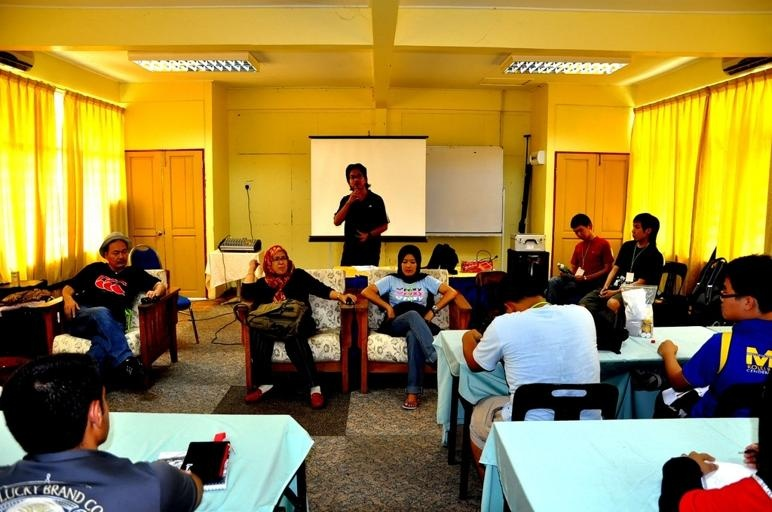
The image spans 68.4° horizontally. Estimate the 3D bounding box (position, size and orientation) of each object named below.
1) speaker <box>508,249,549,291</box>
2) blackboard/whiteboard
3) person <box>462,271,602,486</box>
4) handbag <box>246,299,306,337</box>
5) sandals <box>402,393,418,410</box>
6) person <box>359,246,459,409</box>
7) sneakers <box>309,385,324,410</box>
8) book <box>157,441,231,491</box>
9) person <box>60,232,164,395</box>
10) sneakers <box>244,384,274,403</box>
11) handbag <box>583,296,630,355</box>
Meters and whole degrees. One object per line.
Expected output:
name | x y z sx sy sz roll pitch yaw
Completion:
speaker | 2.077 0.224 7.971 0.424 0.559 0.341 -1 2 9
blackboard/whiteboard | 1.181 -0.979 8.580 1.145 1.302 0.136 -1 7 3
person | 1.003 0.780 3.756 0.893 1.204 0.937 -12 -4 10
handbag | -0.981 0.502 4.998 0.501 0.168 0.527 -2 -13 -27
sandals | 0.207 1.263 4.910 0.092 0.086 0.220 -1 -11 6
person | 0.286 0.588 5.157 0.911 1.276 1.004 -1 7 -11
sneakers | -0.598 1.210 4.851 0.122 0.165 0.060 -2 -37 -2
book | -0.969 1.066 2.922 0.250 0.060 0.254 3 30 -4
person | -2.506 0.448 5.130 0.955 1.330 1.168 4 -5 -36
sneakers | -1.113 1.195 5.005 0.104 0.070 0.270 1 6 23
handbag | 1.546 0.537 4.186 0.375 0.465 0.203 -5 -7 -36
